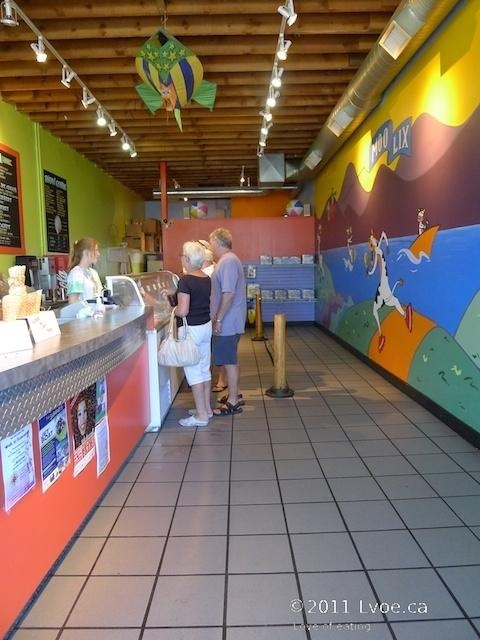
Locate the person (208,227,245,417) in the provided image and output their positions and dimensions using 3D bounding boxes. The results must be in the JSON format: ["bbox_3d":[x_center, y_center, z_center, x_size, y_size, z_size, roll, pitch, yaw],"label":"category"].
[{"bbox_3d":[-0.103,0.013,3.769,0.314,1.687,0.483,-1,2,-5],"label":"person"}]

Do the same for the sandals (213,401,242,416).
[{"bbox_3d":[-0.108,0.801,3.760,0.213,0.100,0.115,0,0,-17],"label":"sandals"}]

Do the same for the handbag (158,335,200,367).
[{"bbox_3d":[-0.477,0.251,3.191,0.317,0.265,0.189,-1,2,-14],"label":"handbag"}]

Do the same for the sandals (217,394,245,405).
[{"bbox_3d":[-0.089,0.783,4.076,0.267,0.115,0.114,1,3,-6],"label":"sandals"}]

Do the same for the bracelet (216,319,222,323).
[{"bbox_3d":[-0.179,0.012,3.578,0.052,0.029,0.034,-1,2,-13],"label":"bracelet"}]

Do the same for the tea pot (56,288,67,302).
[{"bbox_3d":[-2.584,-0.352,5.917,0.139,0.200,0.649,-1,2,-24],"label":"tea pot"}]

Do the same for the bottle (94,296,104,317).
[{"bbox_3d":[-0.887,-0.079,2.572,0.048,0.121,0.224,-1,2,-20],"label":"bottle"}]

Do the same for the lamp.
[{"bbox_3d":[-0.714,-2.206,4.129,1.611,0.930,1.762,0,2,1],"label":"lamp"}]

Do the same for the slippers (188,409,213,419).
[{"bbox_3d":[-0.345,0.828,3.651,0.228,0.108,0.084,4,4,-1],"label":"slippers"}]

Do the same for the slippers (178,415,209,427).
[{"bbox_3d":[-0.394,0.864,3.491,0.210,0.099,0.097,3,-3,-4],"label":"slippers"}]

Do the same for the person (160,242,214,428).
[{"bbox_3d":[-0.415,0.142,3.325,0.373,1.517,0.561,0,2,17],"label":"person"}]
